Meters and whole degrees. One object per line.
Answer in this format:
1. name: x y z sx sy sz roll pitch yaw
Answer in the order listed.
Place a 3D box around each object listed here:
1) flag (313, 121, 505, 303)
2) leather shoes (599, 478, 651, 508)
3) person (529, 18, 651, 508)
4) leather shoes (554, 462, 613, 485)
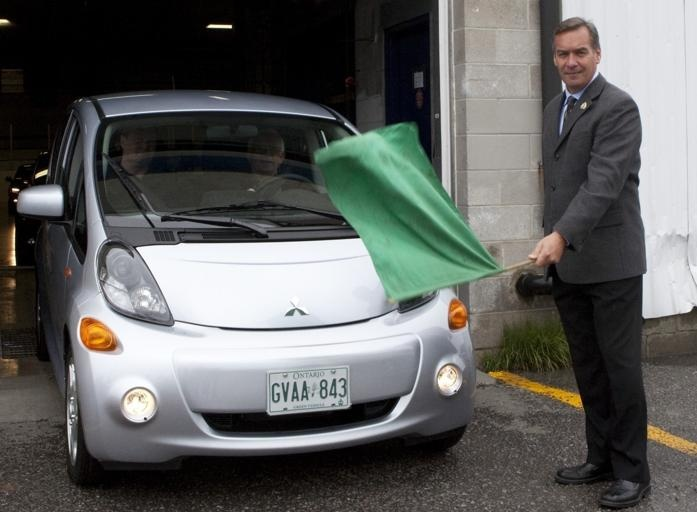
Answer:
1. flag: 0.300 -0.222 3.672 0.762 1.090 0.281 -28 16 -15
2. leather shoes: 1.474 1.276 3.739 0.291 0.128 0.119 -1 -2 -37
3. person: 1.363 0.017 3.819 0.641 2.576 0.569 2 8 18
4. leather shoes: 1.332 1.246 3.987 0.312 0.140 0.134 2 1 -6
